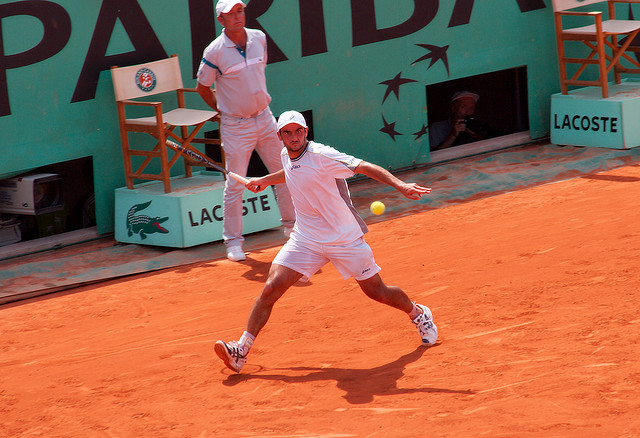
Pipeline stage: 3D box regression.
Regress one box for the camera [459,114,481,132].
[{"bbox_3d":[2.866,-1.851,12.175,0.373,0.343,0.207,-10,4,-44],"label":"camera"}]
